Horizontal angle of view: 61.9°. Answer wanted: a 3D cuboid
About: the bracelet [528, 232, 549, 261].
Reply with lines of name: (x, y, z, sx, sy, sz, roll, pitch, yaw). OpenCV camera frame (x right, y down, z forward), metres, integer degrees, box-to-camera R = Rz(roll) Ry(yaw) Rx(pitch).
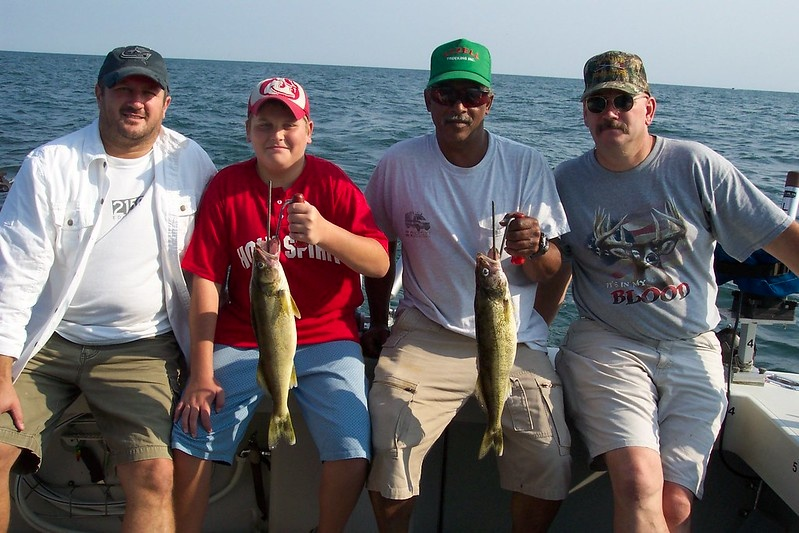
bracelet: (0.923, -0.145, 4.664, 0.171, 0.130, 0.192, 18, -16, 2)

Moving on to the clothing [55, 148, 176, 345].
clothing: (-2.040, -0.086, 4.750, 1.134, 1.137, 0.627, 17, -18, -39)

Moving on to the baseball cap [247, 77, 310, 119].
baseball cap: (-0.853, -1.195, 4.701, 0.410, 0.303, 0.288, -1, 9, -12)

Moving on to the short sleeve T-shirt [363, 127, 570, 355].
short sleeve T-shirt: (0.474, -0.153, 4.902, 1.780, 1.807, 0.972, 1, 5, -1)
